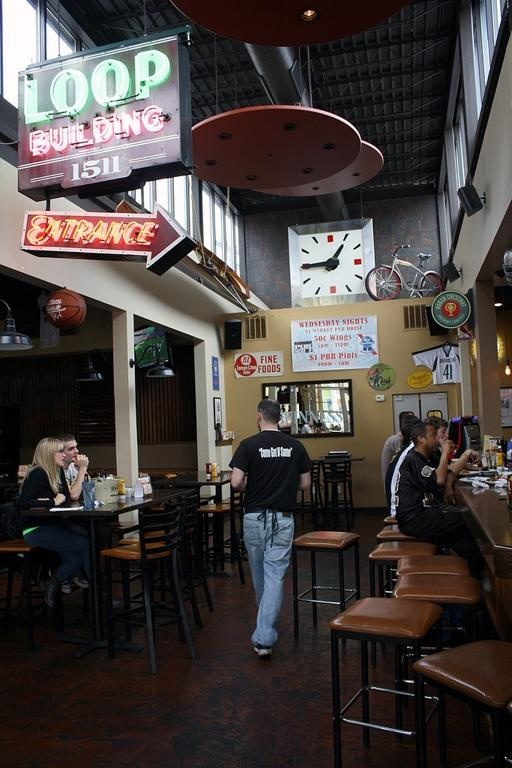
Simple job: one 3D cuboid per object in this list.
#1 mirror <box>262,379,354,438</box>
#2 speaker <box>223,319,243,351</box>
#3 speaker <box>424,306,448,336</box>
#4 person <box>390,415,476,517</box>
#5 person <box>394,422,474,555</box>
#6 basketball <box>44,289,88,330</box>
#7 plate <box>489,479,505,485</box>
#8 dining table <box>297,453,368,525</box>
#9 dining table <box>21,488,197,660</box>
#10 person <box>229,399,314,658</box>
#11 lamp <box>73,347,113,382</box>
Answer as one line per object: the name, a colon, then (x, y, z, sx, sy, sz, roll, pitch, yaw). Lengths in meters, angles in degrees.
mirror: (0.995, 0.410, 9.723, 1.044, 0.734, 0.044, -1, 0, 13)
speaker: (-0.442, -0.922, 11.027, 0.361, 0.555, 0.284, -4, -3, 9)
speaker: (3.160, -1.114, 10.220, 0.361, 0.539, 0.396, -4, -3, 17)
person: (1.218, 0.778, 3.973, 0.530, 0.986, 0.420, -4, 0, 17)
person: (1.229, 0.692, 4.011, 0.472, 0.851, 0.348, -8, -5, 26)
basketball: (-1.691, -0.686, 5.237, 0.308, 0.388, 0.296, -3, -3, 0)
plate: (1.674, 0.678, 4.059, 0.064, 0.020, 0.063, 2, 5, 29)
dining table: (1.200, 1.861, 9.602, 1.403, 1.339, 1.427, -1, -6, 7)
dining table: (-0.935, 1.292, 3.952, 0.936, 0.986, 1.368, -3, -3, -14)
person: (0.082, 0.878, 3.784, 0.382, 1.561, 0.567, -5, -4, 40)
lamp: (-2.804, -0.366, 10.093, 0.579, 0.620, 0.566, -1, -3, 31)
